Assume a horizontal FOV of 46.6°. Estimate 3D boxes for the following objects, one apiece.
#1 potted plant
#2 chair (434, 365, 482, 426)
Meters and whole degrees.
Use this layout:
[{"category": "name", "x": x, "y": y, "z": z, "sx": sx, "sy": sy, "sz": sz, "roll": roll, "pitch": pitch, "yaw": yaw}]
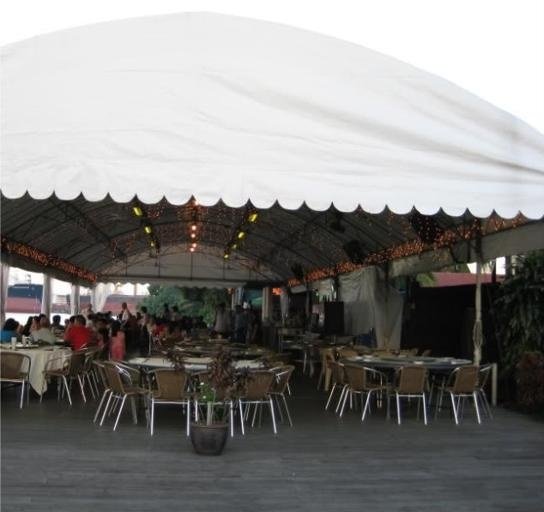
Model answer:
[{"category": "potted plant", "x": -0.673, "y": 1.649, "z": 7.277, "sx": 1.116, "sy": 1.618, "sz": 1.081, "roll": 1, "pitch": 2, "yaw": -2}, {"category": "chair", "x": 2.842, "y": 2.027, "z": 9.652, "sx": 0.668, "sy": 0.804, "sz": 2.023, "roll": 0, "pitch": -6, "yaw": 17}]
